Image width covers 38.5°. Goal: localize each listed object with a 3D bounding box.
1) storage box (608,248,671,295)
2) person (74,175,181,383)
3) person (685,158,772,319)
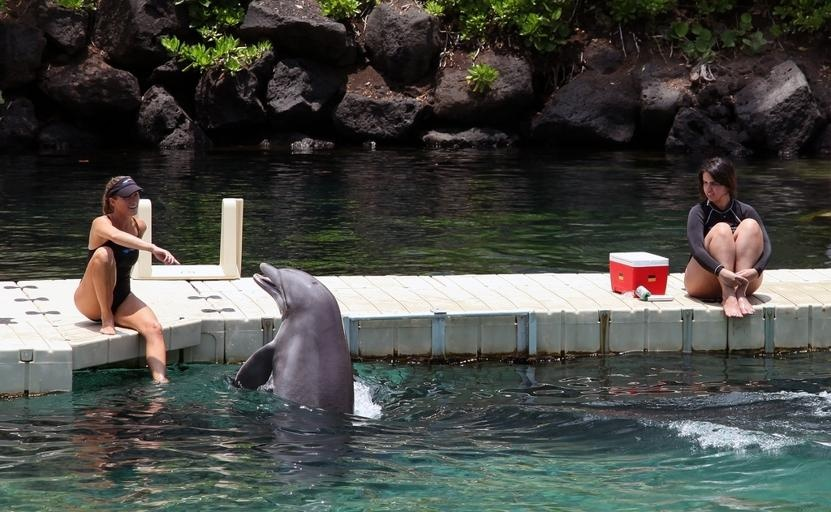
[{"bbox_3d":[2.614,0.197,14.031,0.700,0.471,0.603,1,1,4],"label":"storage box"},{"bbox_3d":[-3.341,0.254,13.053,1.403,2.043,1.027,1,1,25],"label":"person"},{"bbox_3d":[3.714,-0.237,14.083,1.111,1.751,0.819,0,1,15],"label":"person"}]
